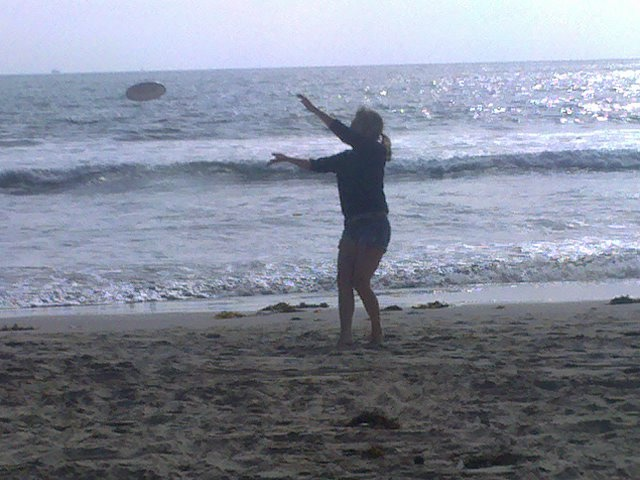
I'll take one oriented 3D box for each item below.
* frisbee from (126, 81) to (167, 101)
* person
[{"bbox_3d":[-2.851,-2.409,17.188,0.483,0.413,0.059,-8,48,-11],"label":"frisbee"},{"bbox_3d":[0.444,-0.251,15.391,1.190,3.557,0.659,-2,10,2],"label":"person"}]
